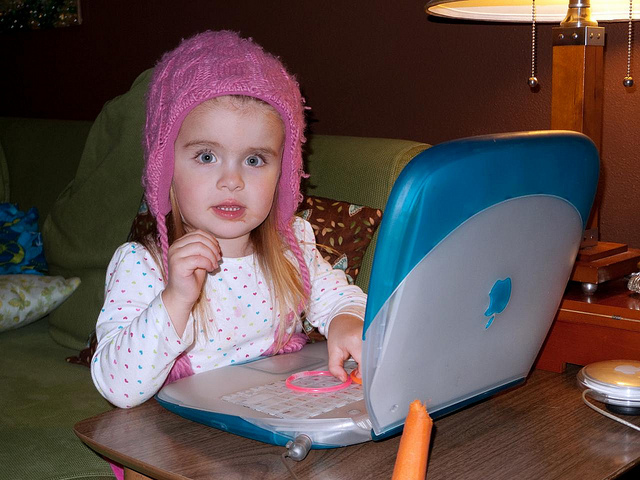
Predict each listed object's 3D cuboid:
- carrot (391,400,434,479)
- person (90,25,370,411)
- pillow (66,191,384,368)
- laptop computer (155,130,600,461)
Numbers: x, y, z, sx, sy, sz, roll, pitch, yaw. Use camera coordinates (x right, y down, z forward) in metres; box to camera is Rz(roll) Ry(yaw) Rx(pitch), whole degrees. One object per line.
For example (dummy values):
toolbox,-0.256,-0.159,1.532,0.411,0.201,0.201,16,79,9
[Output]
carrot,0.099,0.212,0.560,0.035,0.083,0.045,6,8,11
person,-0.189,-0.041,1.126,0.639,0.758,0.450,-7,12,-32
pillow,-0.192,0.119,1.469,0.594,0.500,0.602,26,2,25
laptop computer,0.134,0.046,0.803,0.440,0.362,0.451,6,8,44
